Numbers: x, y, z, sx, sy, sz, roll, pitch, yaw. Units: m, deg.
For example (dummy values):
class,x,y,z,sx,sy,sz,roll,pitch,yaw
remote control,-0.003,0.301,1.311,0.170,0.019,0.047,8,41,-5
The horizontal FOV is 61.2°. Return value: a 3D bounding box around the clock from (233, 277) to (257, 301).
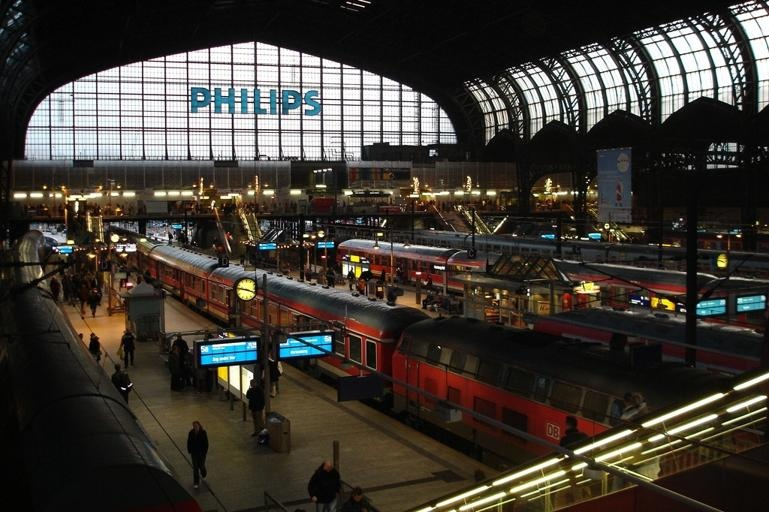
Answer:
class,x,y,z,sx,sy,sz,roll,pitch,yaw
clock,-6.687,1.592,31.534,0.400,1.207,1.212,2,-18,41
